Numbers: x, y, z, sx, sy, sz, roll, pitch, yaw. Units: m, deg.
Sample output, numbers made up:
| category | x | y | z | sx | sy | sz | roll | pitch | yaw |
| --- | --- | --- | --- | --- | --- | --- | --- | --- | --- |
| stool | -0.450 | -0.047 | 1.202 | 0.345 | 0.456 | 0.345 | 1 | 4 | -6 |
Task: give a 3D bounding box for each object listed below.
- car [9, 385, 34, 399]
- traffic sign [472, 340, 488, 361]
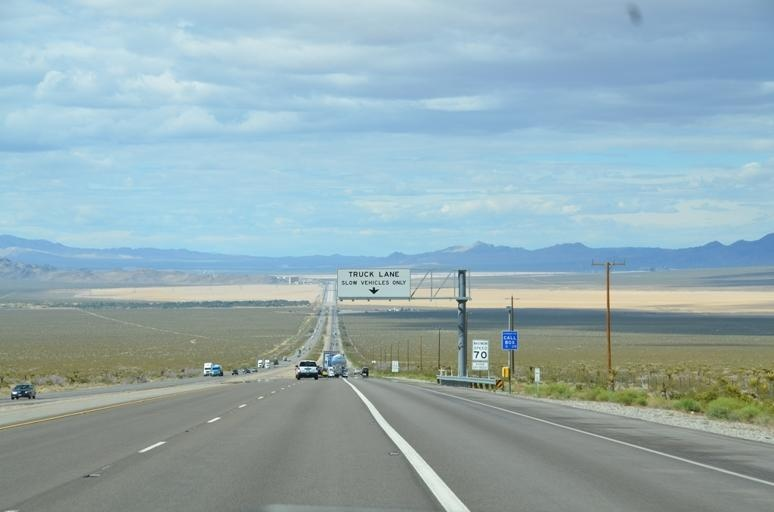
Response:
| category | x | y | z | sx | sy | sz | roll | pitch | yaw |
| --- | --- | --- | --- | --- | --- | --- | --- | --- | --- |
| car | -24.730 | 9.148 | 56.378 | 1.251 | 0.771 | 1.940 | 0 | -10 | -8 |
| traffic sign | 7.681 | 7.838 | 69.181 | 1.187 | 1.674 | 1.490 | -2 | -4 | 10 |
